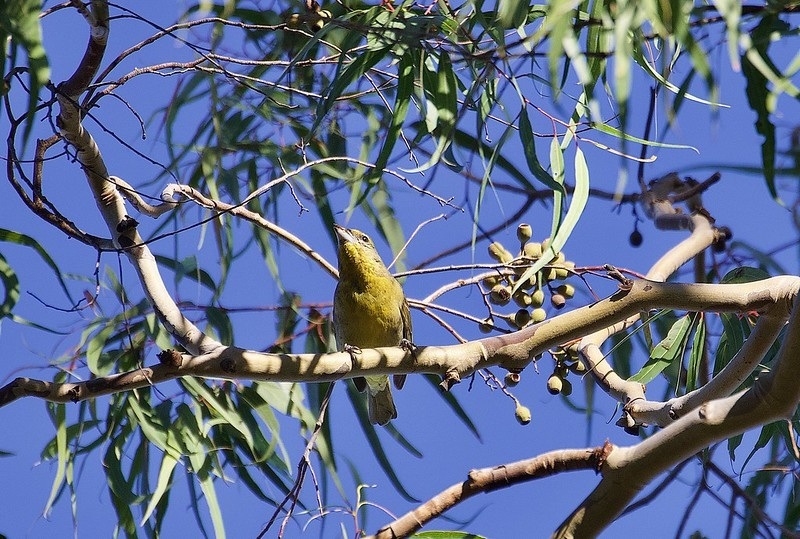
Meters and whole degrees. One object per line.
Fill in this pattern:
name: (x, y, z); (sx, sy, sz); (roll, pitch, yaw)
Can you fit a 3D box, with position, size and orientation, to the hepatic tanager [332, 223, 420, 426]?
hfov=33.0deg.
hepatic tanager: (-0.151, 0.273, 7.358); (0.357, 0.532, 1.272); (-8, -62, -2)
